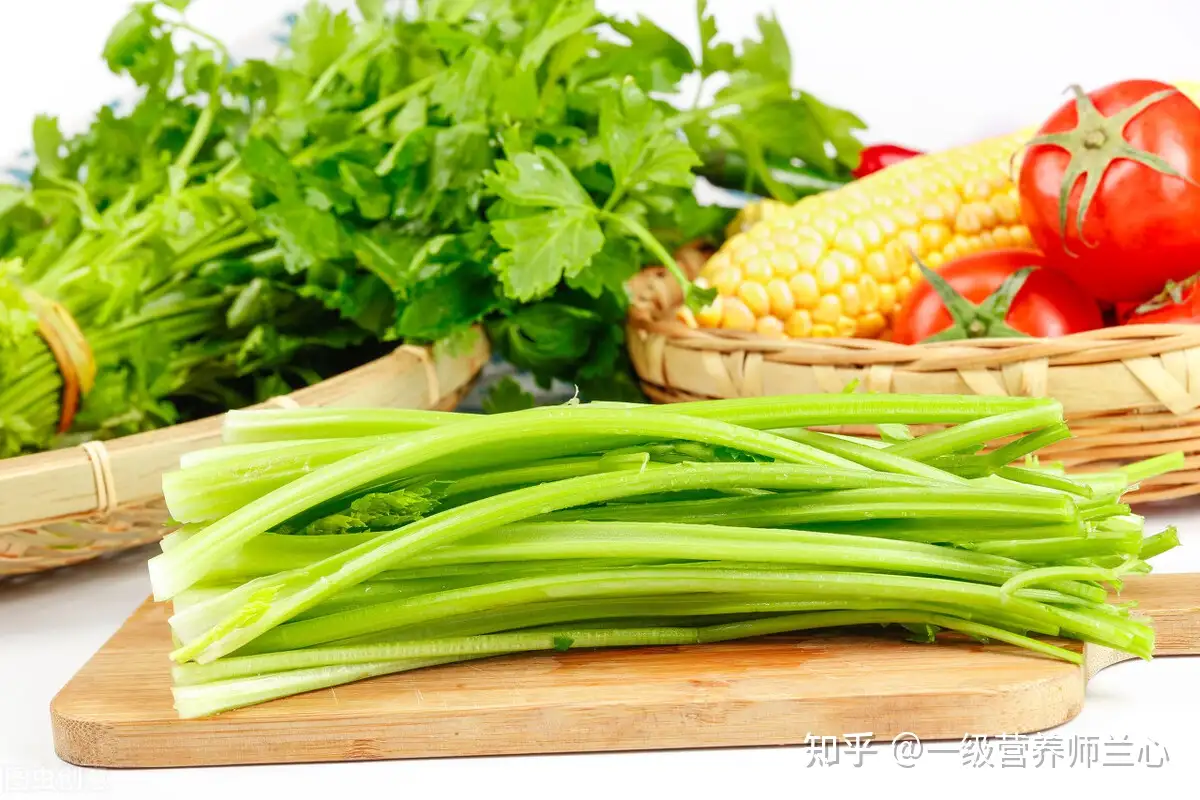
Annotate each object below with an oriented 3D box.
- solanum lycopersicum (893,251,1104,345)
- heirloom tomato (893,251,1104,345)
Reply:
[{"bbox_3d":[0.751,-0.170,2.185,0.283,0.193,0.266,-20,-6,24],"label":"solanum lycopersicum"},{"bbox_3d":[0.739,-0.178,2.093,0.283,0.193,0.266,-20,-6,24],"label":"heirloom tomato"}]
